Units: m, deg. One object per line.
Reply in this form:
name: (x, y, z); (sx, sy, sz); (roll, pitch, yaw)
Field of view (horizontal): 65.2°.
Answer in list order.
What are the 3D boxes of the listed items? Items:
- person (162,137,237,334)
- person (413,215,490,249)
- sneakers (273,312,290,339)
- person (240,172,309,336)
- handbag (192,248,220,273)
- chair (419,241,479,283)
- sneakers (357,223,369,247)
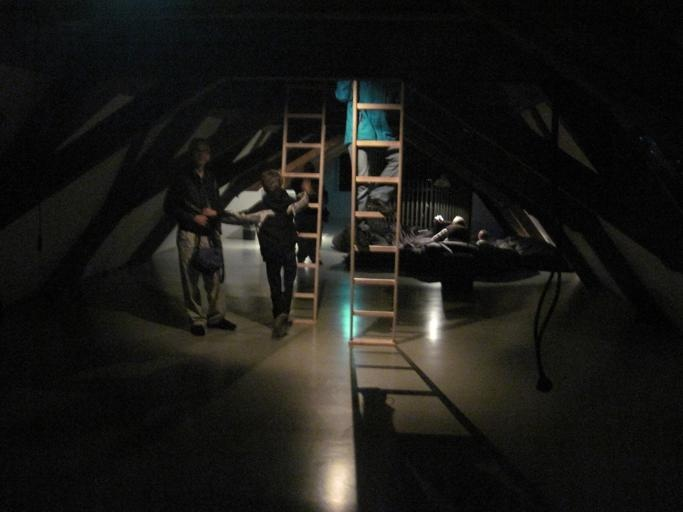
person: (-1.090, -0.135, 4.202); (0.494, 1.513, 0.405); (-1, 9, -13)
person: (1.337, -0.306, 7.064); (0.714, 0.316, 0.756); (-4, 9, -40)
sneakers: (-0.480, 0.541, 4.228); (0.128, 0.189, 0.099); (-3, 10, -25)
person: (-0.526, -0.032, 4.272); (0.520, 1.288, 0.342); (0, 8, -7)
handbag: (-1.039, 0.029, 4.080); (0.160, 0.163, 0.074); (2, 14, -16)
chair: (1.292, 0.103, 6.221); (0.464, 0.484, 0.802); (-3, 10, -24)
sneakers: (0.307, -0.296, 7.115); (0.159, 0.326, 0.088); (0, -42, 4)
